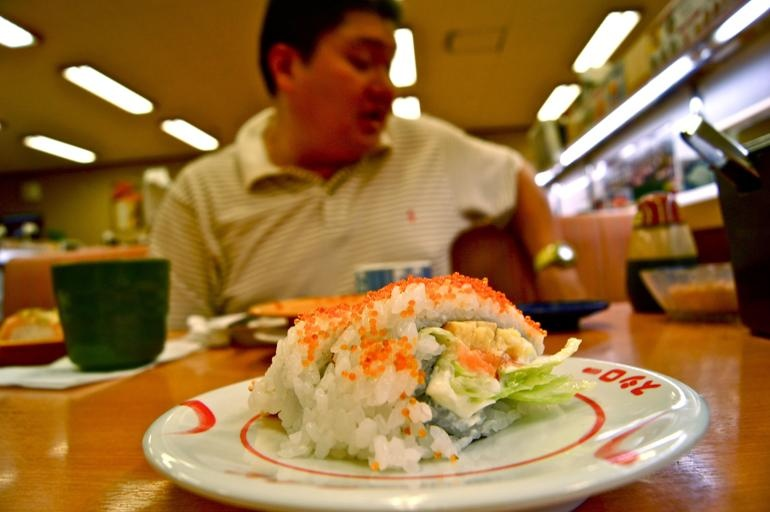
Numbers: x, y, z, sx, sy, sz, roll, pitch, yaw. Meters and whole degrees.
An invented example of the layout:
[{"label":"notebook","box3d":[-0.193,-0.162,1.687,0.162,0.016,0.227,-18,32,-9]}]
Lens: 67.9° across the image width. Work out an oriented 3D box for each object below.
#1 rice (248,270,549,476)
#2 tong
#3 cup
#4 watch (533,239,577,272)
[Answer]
[{"label":"rice","box3d":[-0.016,0.156,0.934,0.457,0.241,0.276,2,86,-36]},{"label":"tong","box3d":[0.621,-0.182,1.116,0.142,0.103,0.119,15,62,-21]},{"label":"cup","box3d":[-0.533,0.126,1.228,0.238,0.280,0.222,-1,88,19]},{"label":"watch","box3d":[0.580,0.006,1.955,0.110,0.105,0.111,6,83,-20]}]
